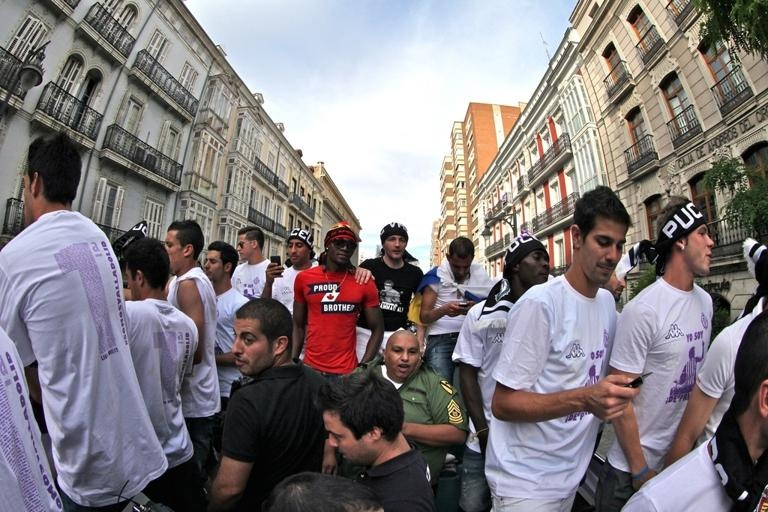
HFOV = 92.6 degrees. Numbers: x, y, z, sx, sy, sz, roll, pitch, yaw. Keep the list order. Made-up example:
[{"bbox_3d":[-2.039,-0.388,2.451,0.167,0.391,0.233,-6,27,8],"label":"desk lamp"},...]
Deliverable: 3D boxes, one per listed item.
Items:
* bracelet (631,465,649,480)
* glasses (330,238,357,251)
[{"bbox_3d":[1.984,1.692,2.844,0.100,0.043,0.116,-27,2,3],"label":"bracelet"},{"bbox_3d":[-0.528,-0.138,4.810,0.398,0.158,0.232,4,-4,-24],"label":"glasses"}]
